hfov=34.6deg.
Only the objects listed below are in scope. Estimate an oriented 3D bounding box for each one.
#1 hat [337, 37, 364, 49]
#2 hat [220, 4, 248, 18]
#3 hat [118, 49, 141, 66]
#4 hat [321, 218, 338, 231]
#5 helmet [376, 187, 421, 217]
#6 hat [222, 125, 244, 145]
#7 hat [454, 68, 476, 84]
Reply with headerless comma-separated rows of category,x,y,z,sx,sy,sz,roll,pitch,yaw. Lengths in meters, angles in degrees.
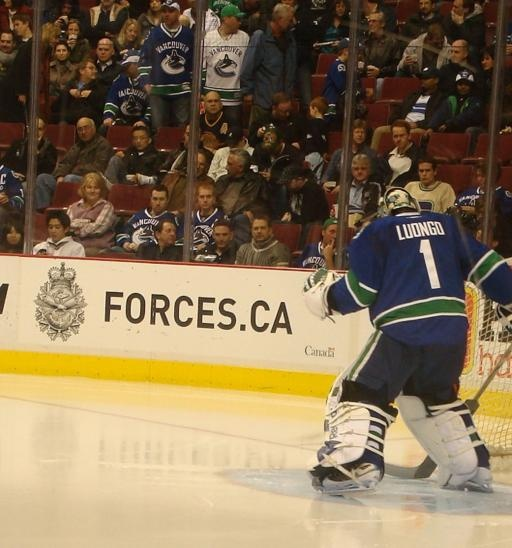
hat,0.691,-1.665,6.001,0.134,0.061,0.093,-16,2,-15
hat,-0.189,-2.002,6.268,0.150,0.069,0.090,0,25,4
hat,-1.038,-1.777,6.761,0.160,0.086,0.098,2,17,10
hat,0.545,-0.366,6.072,0.103,0.098,0.083,-11,-20,25
helmet,0.682,-0.342,3.954,0.150,0.128,0.178,0,15,-7
hat,-0.205,-1.064,6.336,0.131,0.151,0.157,-1,26,-34
hat,1.428,-1.358,5.643,0.150,0.094,0.093,1,7,-23
